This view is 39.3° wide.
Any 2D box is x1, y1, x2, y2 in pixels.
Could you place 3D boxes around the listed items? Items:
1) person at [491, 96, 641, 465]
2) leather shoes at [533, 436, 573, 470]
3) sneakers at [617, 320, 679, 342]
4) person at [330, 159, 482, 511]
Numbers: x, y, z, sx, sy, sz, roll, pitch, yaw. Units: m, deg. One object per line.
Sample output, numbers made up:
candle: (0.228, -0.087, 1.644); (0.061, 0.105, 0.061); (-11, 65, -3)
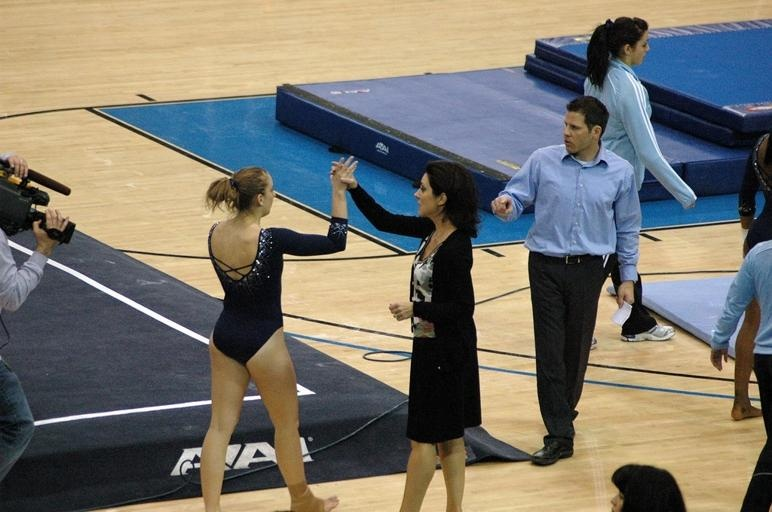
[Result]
person: (1.255, 0.141, 7.119); (0.855, 2.344, 0.604); (-5, 14, -20)
leather shoes: (1.099, 1.274, 7.029); (0.327, 0.134, 0.131); (-6, 9, -32)
sneakers: (2.118, 0.594, 8.593); (0.400, 0.142, 0.150); (-4, 9, 0)
person: (0.253, 0.508, 6.370); (0.611, 2.122, 0.759); (-1, 13, -1)
